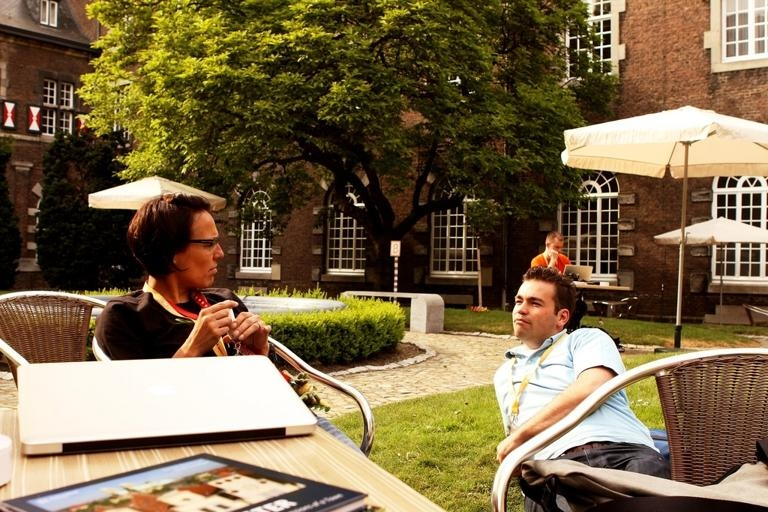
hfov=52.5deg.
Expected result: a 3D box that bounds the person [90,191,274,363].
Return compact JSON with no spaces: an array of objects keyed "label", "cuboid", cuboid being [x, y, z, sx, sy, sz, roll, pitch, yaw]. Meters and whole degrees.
[{"label":"person","cuboid":[-1.186,0.126,4.747,1.126,0.996,0.802,6,3,38]}]

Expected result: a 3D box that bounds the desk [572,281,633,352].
[{"label":"desk","cuboid":[3.913,1.009,13.682,1.589,1.178,0.949,2,-9,11]}]

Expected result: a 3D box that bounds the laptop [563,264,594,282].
[{"label":"laptop","cuboid":[3.624,0.313,14.513,0.509,0.270,0.334,2,-10,-28]}]

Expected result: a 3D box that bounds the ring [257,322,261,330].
[{"label":"ring","cuboid":[-0.743,0.413,4.589,0.025,0.029,0.011,-3,-1,-22]}]
